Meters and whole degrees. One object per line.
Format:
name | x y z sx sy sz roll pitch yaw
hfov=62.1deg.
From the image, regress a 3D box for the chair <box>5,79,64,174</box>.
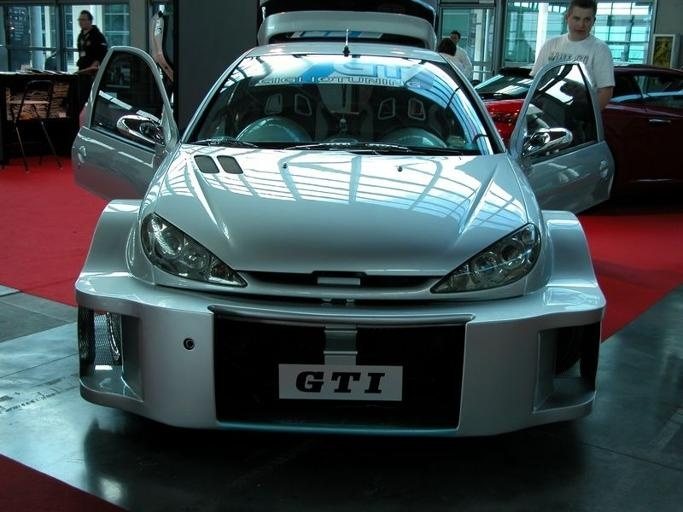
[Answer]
chair | -4.697 -2.074 8.678 0.657 1.292 1.299 -6 17 -26
